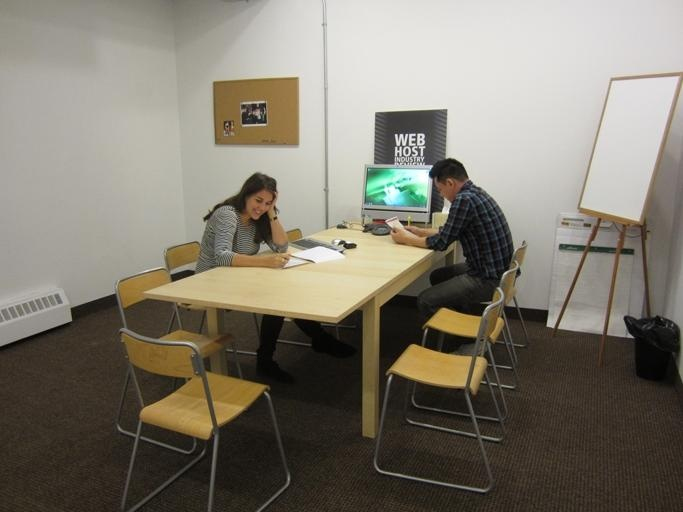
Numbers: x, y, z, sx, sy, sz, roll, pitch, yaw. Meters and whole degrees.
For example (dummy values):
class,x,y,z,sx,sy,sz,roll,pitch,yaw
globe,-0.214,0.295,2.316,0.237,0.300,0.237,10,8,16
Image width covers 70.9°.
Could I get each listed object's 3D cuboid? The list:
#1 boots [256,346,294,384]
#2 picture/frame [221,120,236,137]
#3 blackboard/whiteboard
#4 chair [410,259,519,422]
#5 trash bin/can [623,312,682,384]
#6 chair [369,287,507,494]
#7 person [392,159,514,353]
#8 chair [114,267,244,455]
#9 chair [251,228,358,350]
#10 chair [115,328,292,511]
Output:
class,x,y,z,sx,sy,sz,roll,pitch,yaw
boots,-0.514,0.813,3.693,0.322,0.257,0.128,8,23,10
picture/frame,-1.301,-1.499,5.588,0.163,0.249,0.025,5,11,17
blackboard/whiteboard,2.302,-0.883,3.900,0.555,1.152,0.512,17,23,40
chair,0.880,0.543,3.382,0.576,0.937,0.546,7,28,32
trash bin/can,2.446,0.650,3.832,0.390,0.560,0.499,-2,3,30
chair,0.638,0.749,2.942,0.835,1.096,0.788,10,13,43
person,0.932,0.013,4.057,0.920,1.606,0.613,9,17,35
chair,-1.096,0.619,3.133,0.689,1.000,0.727,1,13,3
chair,-0.321,0.387,4.051,0.845,1.080,0.738,2,10,7
chair,-0.819,1.009,2.859,0.562,1.074,0.647,9,22,23
